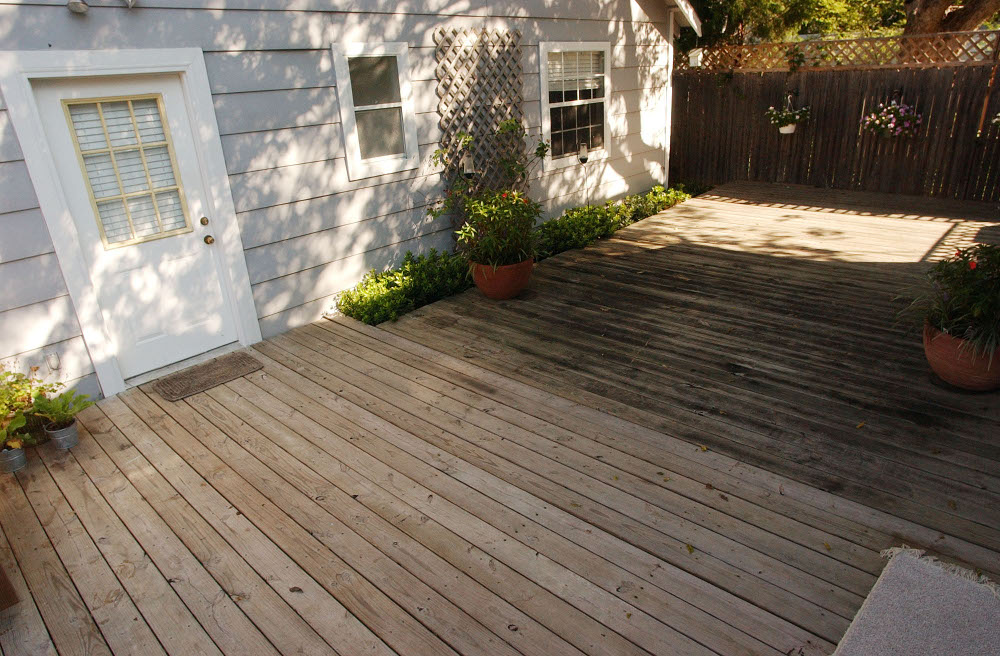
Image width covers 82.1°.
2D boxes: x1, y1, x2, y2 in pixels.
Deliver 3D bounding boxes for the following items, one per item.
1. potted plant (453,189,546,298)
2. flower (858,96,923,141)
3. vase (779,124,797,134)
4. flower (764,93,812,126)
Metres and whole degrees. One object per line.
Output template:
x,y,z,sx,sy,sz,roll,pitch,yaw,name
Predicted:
-0.002,-1.033,6.967,1.292,1.434,1.148,-3,21,-2,potted plant
6.274,-3.281,9.232,0.664,0.393,0.651,-26,42,-4,flower
5.054,-3.461,10.121,0.191,0.123,0.163,15,39,30,vase
5.065,-3.716,10.153,0.569,0.511,0.568,26,50,36,flower
